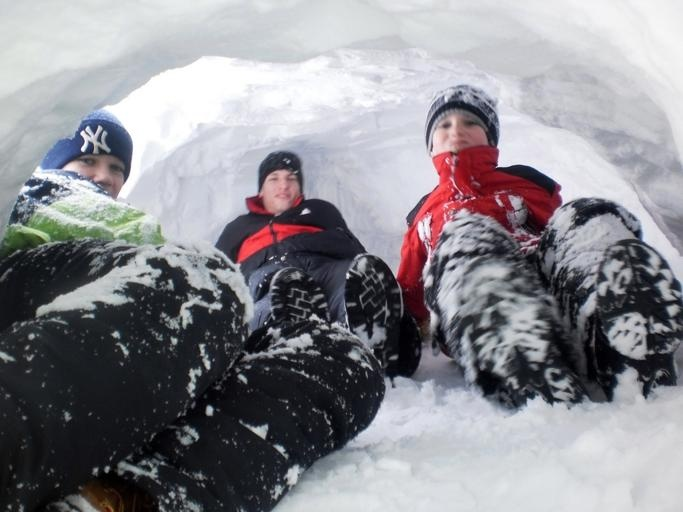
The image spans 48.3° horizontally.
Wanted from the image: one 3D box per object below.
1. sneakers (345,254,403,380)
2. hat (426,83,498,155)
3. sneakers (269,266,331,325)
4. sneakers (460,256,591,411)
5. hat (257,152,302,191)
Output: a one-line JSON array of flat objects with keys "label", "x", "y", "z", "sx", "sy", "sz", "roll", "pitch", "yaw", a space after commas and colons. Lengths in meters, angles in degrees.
[{"label": "sneakers", "x": 0.060, "y": 0.127, "z": 1.717, "sx": 0.104, "sy": 0.284, "sz": 0.129, "roll": -11, "pitch": -2, "yaw": -30}, {"label": "hat", "x": 0.377, "y": -0.392, "z": 2.201, "sx": 0.171, "sy": 0.174, "sz": 0.227, "roll": 5, "pitch": -25, "yaw": 15}, {"label": "sneakers", "x": -0.101, "y": 0.099, "z": 1.757, "sx": 0.082, "sy": 0.162, "sz": 0.073, "roll": -17, "pitch": -10, "yaw": -6}, {"label": "sneakers", "x": 0.300, "y": 0.142, "z": 1.379, "sx": 0.130, "sy": 0.350, "sz": 0.166, "roll": -20, "pitch": -10, "yaw": -15}, {"label": "hat", "x": -0.223, "y": -0.325, "z": 2.752, "sx": 0.140, "sy": 0.115, "sz": 0.147, "roll": 3, "pitch": -38, "yaw": -16}]
